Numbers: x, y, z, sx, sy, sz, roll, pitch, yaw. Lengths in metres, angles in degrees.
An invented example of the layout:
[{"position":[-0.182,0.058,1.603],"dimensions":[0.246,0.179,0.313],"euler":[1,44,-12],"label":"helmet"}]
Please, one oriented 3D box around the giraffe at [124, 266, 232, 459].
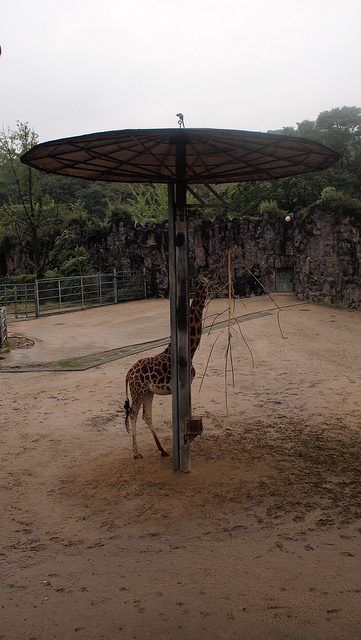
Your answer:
[{"position":[-0.035,0.356,6.657],"dimensions":[1.289,2.095,4.085],"euler":[-2,5,5],"label":"giraffe"}]
